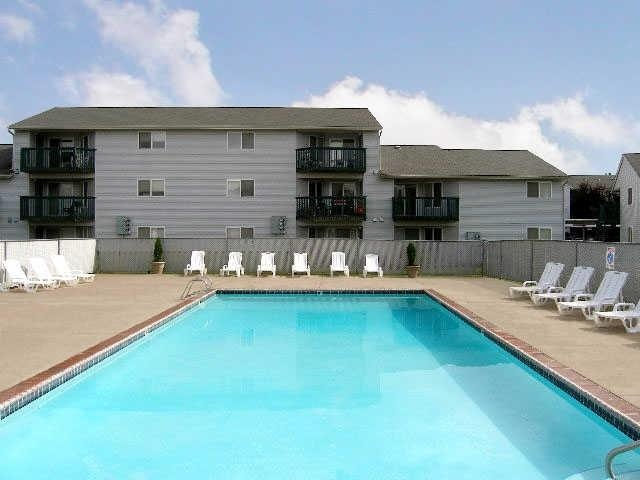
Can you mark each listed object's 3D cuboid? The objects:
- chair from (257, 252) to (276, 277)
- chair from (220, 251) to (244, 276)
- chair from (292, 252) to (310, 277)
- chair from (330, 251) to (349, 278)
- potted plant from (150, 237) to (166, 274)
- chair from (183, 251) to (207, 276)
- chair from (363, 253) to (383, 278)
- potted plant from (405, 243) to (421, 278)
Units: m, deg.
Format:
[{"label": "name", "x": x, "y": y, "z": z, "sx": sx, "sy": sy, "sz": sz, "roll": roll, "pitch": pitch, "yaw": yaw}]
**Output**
[{"label": "chair", "x": -2.523, "y": 1.069, "z": 30.151, "sx": 0.696, "sy": 0.911, "sz": 1.258, "roll": 0, "pitch": -4, "yaw": 1}, {"label": "chair", "x": -4.172, "y": 1.118, "z": 30.320, "sx": 1.031, "sy": 1.066, "sz": 1.530, "roll": 1, "pitch": 3, "yaw": -5}, {"label": "chair", "x": -0.896, "y": 1.085, "z": 30.202, "sx": 0.646, "sy": 0.805, "sz": 1.205, "roll": 0, "pitch": -4, "yaw": -1}, {"label": "chair", "x": 0.970, "y": 1.044, "z": 30.209, "sx": 0.699, "sy": 0.976, "sz": 1.197, "roll": 0, "pitch": -2, "yaw": -1}, {"label": "potted plant", "x": -7.910, "y": 0.733, "z": 30.776, "sx": 0.645, "sy": 1.731, "sz": 0.782, "roll": 1, "pitch": 3, "yaw": -12}, {"label": "chair", "x": -5.938, "y": 1.017, "z": 30.262, "sx": 1.042, "sy": 1.512, "sz": 1.178, "roll": 1, "pitch": -7, "yaw": -6}, {"label": "chair", "x": 2.572, "y": 1.125, "z": 30.336, "sx": 0.690, "sy": 0.821, "sz": 1.181, "roll": 0, "pitch": -3, "yaw": 2}, {"label": "potted plant", "x": 4.511, "y": 0.912, "z": 30.356, "sx": 0.633, "sy": 1.627, "sz": 1.168, "roll": 2, "pitch": 3, "yaw": 8}]
